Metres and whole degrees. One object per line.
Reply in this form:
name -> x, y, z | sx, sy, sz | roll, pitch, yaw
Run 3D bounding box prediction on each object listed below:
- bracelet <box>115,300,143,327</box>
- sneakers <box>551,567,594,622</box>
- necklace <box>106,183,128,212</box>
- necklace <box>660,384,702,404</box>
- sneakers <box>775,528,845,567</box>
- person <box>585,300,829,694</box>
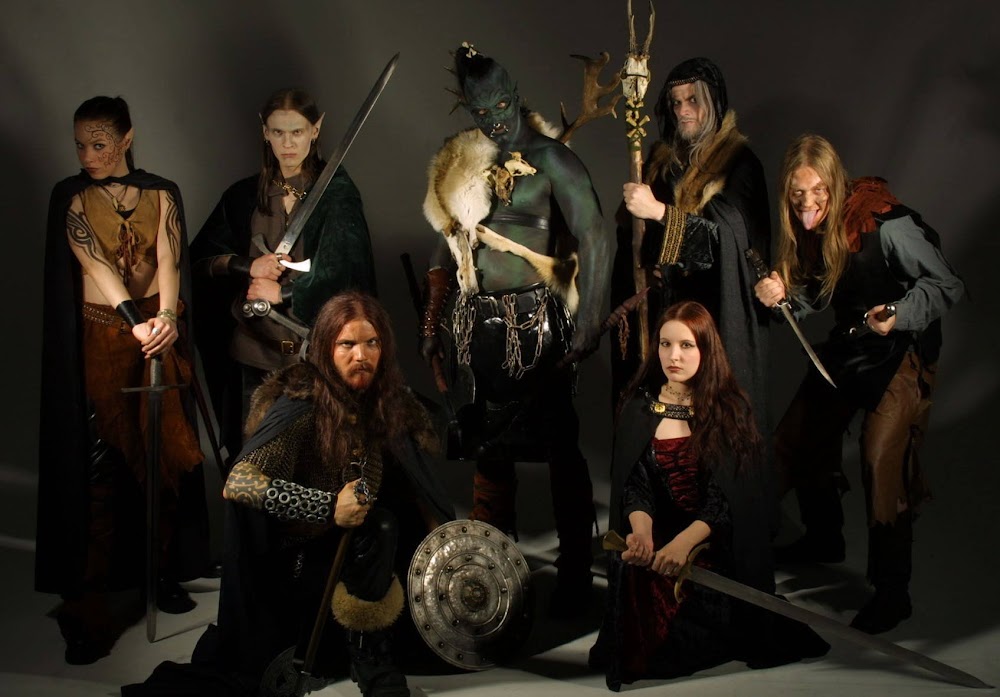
bracelet -> -1.734, -0.167, 4.678 | 0.083, 0.146, 0.064 | -36, -7, -3
sneakers -> 0.356, 1.205, 4.880 | 0.156, 0.250, 0.057 | 1, -14, 0
necklace -> -1.812, -0.720, 4.752 | 0.091, 0.140, 0.032 | -14, 0, -18
necklace -> 0.821, 0.200, 4.559 | 0.105, 0.065, 0.085 | 3, 4, 13
sneakers -> 1.623, 1.048, 5.247 | 0.403, 0.278, 0.143 | 1, -8, 11
person -> 0.893, 0.662, 4.495 | 0.934, 1.699, 0.371 | 1, 7, 5
